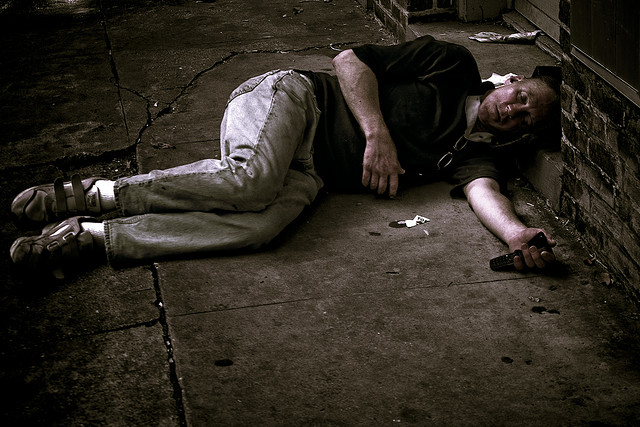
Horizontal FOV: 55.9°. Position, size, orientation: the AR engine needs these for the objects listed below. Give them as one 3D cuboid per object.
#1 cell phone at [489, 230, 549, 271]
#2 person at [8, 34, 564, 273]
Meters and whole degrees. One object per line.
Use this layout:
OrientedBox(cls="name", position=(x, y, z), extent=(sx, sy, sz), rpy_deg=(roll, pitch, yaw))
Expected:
OrientedBox(cls="cell phone", position=(0.952, 0.181, 2.850), extent=(0.160, 0.155, 0.073), rpy_deg=(-24, 51, 24))
OrientedBox(cls="person", position=(-0.047, -0.326, 3.230), extent=(2.831, 0.804, 1.071), rpy_deg=(-9, 32, -1))
